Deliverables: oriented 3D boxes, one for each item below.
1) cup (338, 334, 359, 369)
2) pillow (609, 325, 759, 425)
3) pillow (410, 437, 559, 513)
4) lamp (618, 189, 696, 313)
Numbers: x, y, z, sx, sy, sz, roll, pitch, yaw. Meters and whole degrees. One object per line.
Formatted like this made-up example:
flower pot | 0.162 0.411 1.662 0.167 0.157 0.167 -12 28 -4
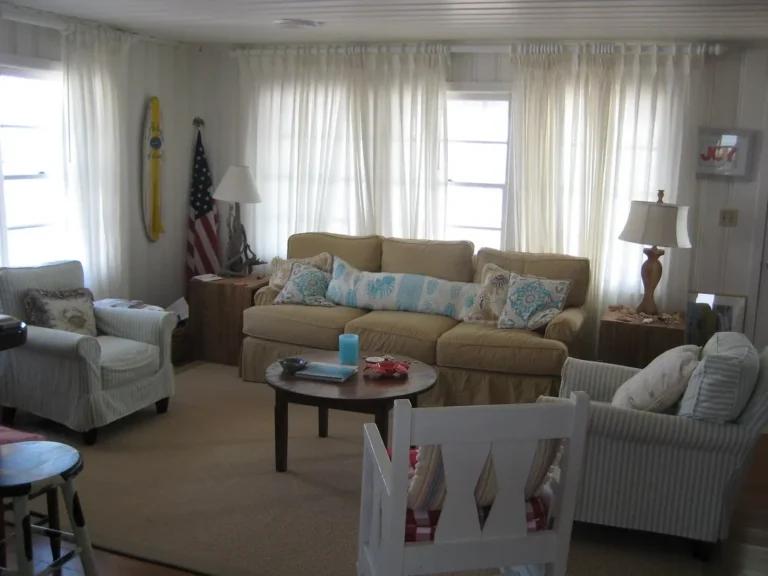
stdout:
cup | -0.233 0.392 3.740 0.153 0.263 0.155 0 1 0
pillow | 1.453 0.423 2.938 0.619 0.366 0.504 7 15 21
pillow | 0.335 0.647 2.122 0.282 0.298 0.073 -1 7 3
lamp | 1.994 -0.253 4.505 0.495 0.930 0.465 -8 16 -35
